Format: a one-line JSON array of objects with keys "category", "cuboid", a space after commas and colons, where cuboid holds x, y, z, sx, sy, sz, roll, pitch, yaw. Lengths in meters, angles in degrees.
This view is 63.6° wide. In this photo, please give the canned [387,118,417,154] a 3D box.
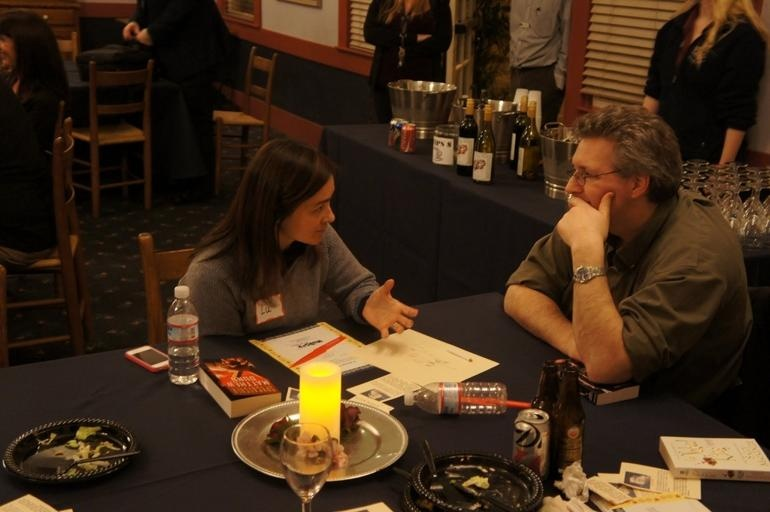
[{"category": "canned", "cuboid": [0.111, -0.744, 3.858, 0.086, 0.196, 0.218, -15, 27, -40]}]

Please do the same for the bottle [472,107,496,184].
[{"category": "bottle", "cuboid": [0.536, -0.615, 3.335, 0.112, 0.392, 0.318, 4, 18, 8]}]

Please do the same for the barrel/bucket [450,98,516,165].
[{"category": "barrel/bucket", "cuboid": [0.574, -0.744, 3.667, 0.395, 0.342, 0.355, 18, 31, 39]}]

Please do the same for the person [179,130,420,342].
[{"category": "person", "cuboid": [-0.354, -0.039, 2.239, 0.773, 0.726, 0.774, -2, 26, -22]}]

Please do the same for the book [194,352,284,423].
[{"category": "book", "cuboid": [-0.431, 0.366, 1.800, 0.168, 0.050, 0.252, 0, 17, -39]}]

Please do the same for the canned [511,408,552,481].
[{"category": "canned", "cuboid": [0.368, 0.474, 1.558, 0.090, 0.160, 0.091, 5, 8, 13]}]

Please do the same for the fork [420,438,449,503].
[{"category": "fork", "cuboid": [0.113, 0.506, 1.506, 0.021, 0.019, 0.125, -12, 59, -5]}]

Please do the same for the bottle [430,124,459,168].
[{"category": "bottle", "cuboid": [0.330, -0.657, 3.679, 0.215, 0.229, 0.208, 2, 21, 2]}]

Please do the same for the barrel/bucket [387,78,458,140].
[{"category": "barrel/bucket", "cuboid": [0.353, -0.965, 4.235, 0.610, 0.397, 0.543, -7, 16, -38]}]

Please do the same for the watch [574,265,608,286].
[{"category": "watch", "cuboid": [0.655, 0.054, 2.006, 0.069, 0.027, 0.067, -25, 22, -26]}]

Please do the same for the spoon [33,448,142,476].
[{"category": "spoon", "cuboid": [-0.759, 0.502, 1.540, 0.161, 0.020, 0.091, -3, 17, -20]}]
